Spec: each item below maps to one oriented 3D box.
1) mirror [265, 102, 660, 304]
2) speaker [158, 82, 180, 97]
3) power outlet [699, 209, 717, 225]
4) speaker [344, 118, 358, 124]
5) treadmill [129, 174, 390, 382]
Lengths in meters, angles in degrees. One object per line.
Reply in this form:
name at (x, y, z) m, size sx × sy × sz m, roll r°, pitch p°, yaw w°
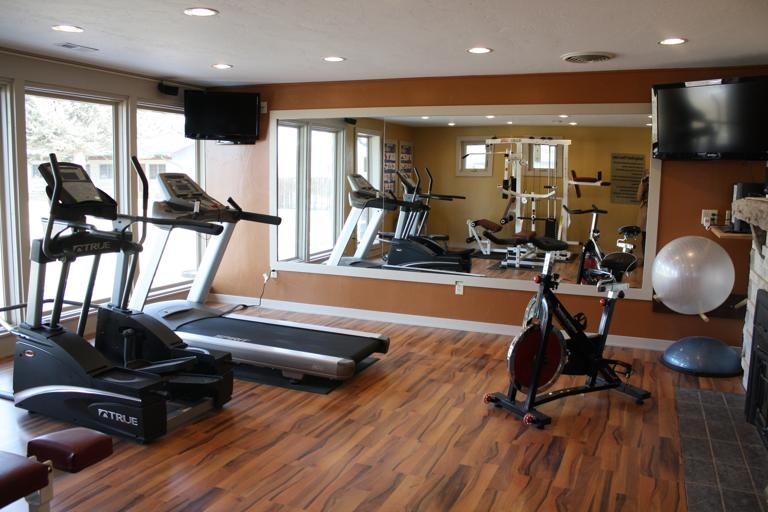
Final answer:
mirror at (0.999, -0.619, 6.456) m, size 5.220 × 2.266 × 0.557 m, roll 6°, pitch 13°, yaw 16°
speaker at (-2.719, -2.102, 7.046) m, size 0.188 × 0.138 × 0.299 m, roll 0°, pitch 0°, yaw 44°
power outlet at (3.434, -0.409, 5.861) m, size 0.185 × 0.156 × 0.167 m, roll 4°, pitch 11°, yaw 33°
speaker at (-0.418, -1.681, 6.978) m, size 0.158 × 0.071 × 0.104 m, roll 2°, pitch 2°, yaw 19°
treadmill at (-1.372, 0.153, 5.669) m, size 2.362 × 1.984 × 1.071 m, roll 1°, pitch 9°, yaw 9°
